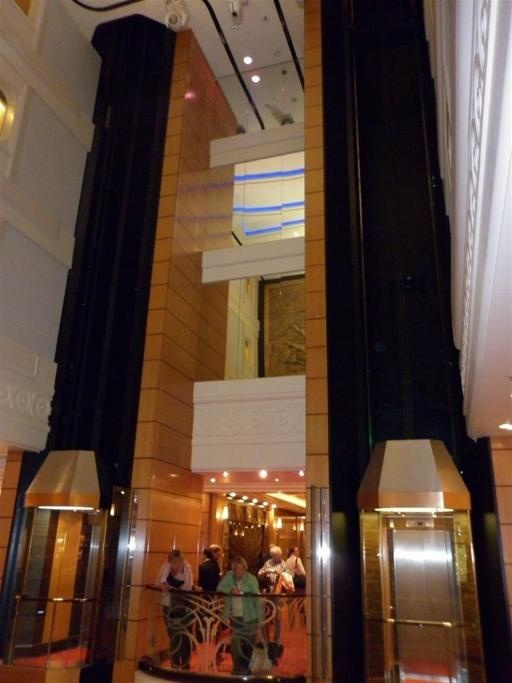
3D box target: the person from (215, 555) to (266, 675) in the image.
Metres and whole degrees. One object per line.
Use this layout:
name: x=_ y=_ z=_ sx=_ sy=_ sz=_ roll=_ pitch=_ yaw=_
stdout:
person: x=-0.209 y=3.286 z=5.634 sx=0.525 sy=1.265 sz=0.323 roll=-1 pitch=-18 yaw=5

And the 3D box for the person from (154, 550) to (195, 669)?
person: x=-1.003 y=3.375 z=5.886 sx=0.321 sy=1.522 sz=0.391 roll=0 pitch=5 yaw=5

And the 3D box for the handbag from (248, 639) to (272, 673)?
handbag: x=0.043 y=3.709 z=5.502 sx=0.180 sy=0.379 sz=0.353 roll=2 pitch=-26 yaw=-1
